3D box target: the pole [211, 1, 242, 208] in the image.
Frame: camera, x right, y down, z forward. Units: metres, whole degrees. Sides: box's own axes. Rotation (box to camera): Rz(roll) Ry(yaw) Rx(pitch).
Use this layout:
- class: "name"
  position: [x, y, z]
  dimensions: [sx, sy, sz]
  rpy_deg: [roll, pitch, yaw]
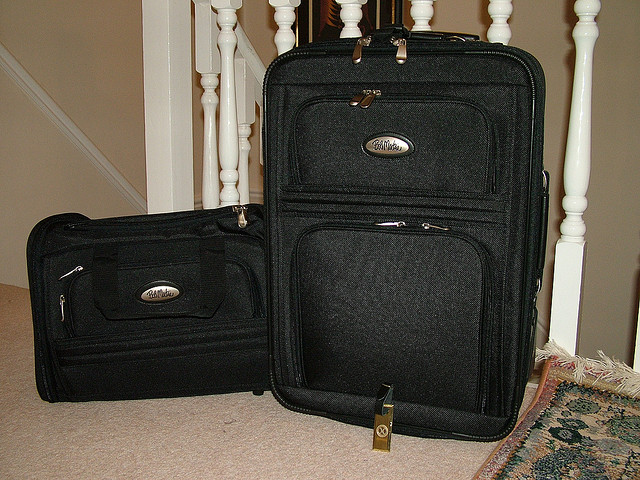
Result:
- class: "pole"
  position: [-0.257, -0.372, 1.828]
  dimensions: [0.084, 0.563, 0.152]
  rpy_deg: [-2, 14, -8]

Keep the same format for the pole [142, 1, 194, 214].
- class: "pole"
  position: [-0.433, -0.376, 1.858]
  dimensions: [0.147, 0.587, 0.104]
  rpy_deg: [-4, 14, -13]

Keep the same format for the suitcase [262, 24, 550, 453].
- class: "suitcase"
  position: [0.217, -0.018, 1.602]
  dimensions: [0.653, 0.958, 0.506]
  rpy_deg: [5, 15, 23]

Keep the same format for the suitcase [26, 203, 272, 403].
- class: "suitcase"
  position: [-0.402, 0.160, 1.666]
  dimensions: [0.619, 0.491, 0.337]
  rpy_deg: [-4, 17, -6]

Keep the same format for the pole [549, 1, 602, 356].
- class: "pole"
  position: [0.621, -0.142, 1.578]
  dimensions: [0.071, 0.835, 0.190]
  rpy_deg: [5, 15, 20]

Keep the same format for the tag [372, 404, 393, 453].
- class: "tag"
  position: [0.136, 0.409, 1.422]
  dimensions: [0.041, 0.104, 0.034]
  rpy_deg: [2, 14, 8]
